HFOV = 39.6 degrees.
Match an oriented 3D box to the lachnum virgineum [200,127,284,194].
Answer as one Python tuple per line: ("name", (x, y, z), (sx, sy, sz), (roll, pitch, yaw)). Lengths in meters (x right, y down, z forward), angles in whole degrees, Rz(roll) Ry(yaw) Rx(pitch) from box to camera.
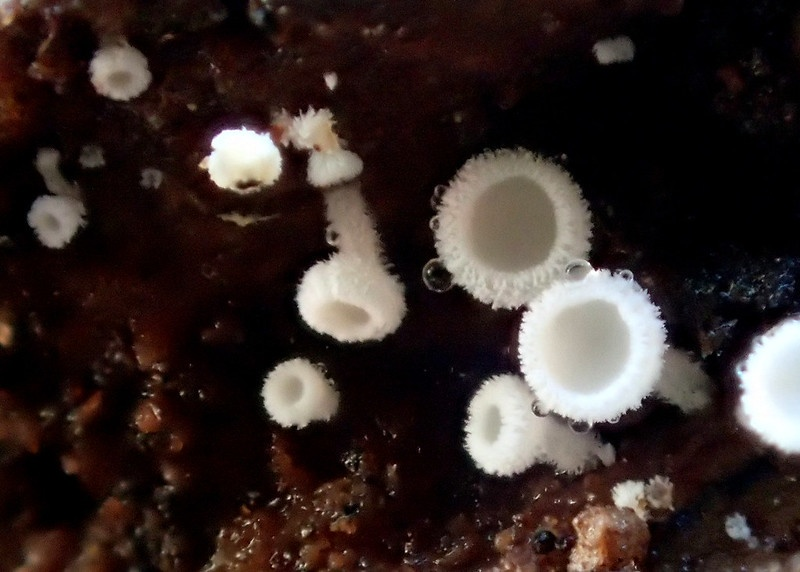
("lachnum virgineum", (-0.558, -0.452, 4.019), (0.253, 0.113, 0.222), (-7, 83, 8))

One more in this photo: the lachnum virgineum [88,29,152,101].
("lachnum virgineum", (-0.998, -0.758, 3.968), (0.195, 0.078, 0.206), (28, 89, 11))

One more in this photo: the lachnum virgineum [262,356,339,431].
("lachnum virgineum", (-0.387, 0.389, 4.167), (0.242, 0.063, 0.271), (2, 92, -4))
